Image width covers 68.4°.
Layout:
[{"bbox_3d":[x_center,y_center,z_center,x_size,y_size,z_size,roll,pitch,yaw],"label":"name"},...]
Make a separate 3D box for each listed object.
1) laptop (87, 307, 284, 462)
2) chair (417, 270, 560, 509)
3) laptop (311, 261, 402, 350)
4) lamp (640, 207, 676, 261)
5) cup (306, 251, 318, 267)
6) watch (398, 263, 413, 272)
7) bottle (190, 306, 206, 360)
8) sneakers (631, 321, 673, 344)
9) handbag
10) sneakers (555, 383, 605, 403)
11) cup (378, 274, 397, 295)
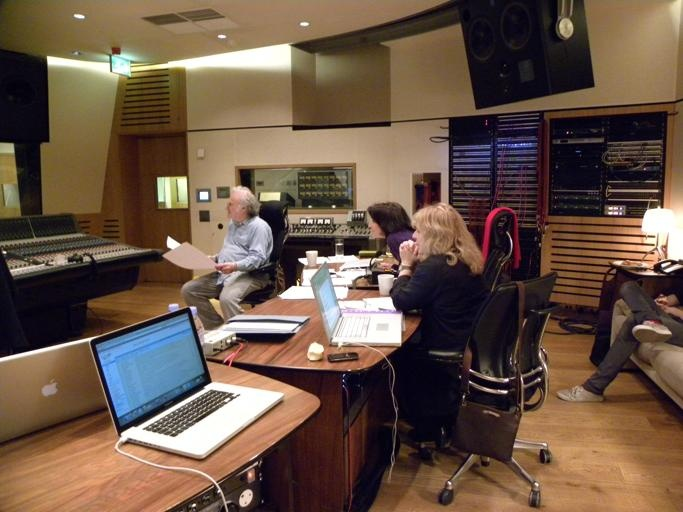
[{"bbox_3d":[-0.596,0.473,2.034,0.505,0.408,0.579,0,6,22],"label":"laptop"},{"bbox_3d":[0.990,0.624,3.462,1.021,1.699,1.123,4,9,36],"label":"chair"},{"bbox_3d":[0.112,0.343,2.834,0.404,0.325,0.543,-3,9,11],"label":"laptop"},{"bbox_3d":[3.114,-0.212,4.959,0.250,0.546,0.624,6,15,31],"label":"lamp"},{"bbox_3d":[-0.250,0.022,4.388,0.114,0.132,0.117,-1,13,0],"label":"cup"},{"bbox_3d":[0.412,0.080,3.277,0.059,0.043,0.064,3,-7,25],"label":"watch"},{"bbox_3d":[-0.711,0.373,2.513,0.060,0.222,0.237,-2,-1,-3],"label":"bottle"},{"bbox_3d":[2.198,0.554,3.619,0.278,0.138,0.135,1,30,7],"label":"sneakers"},{"bbox_3d":[0.808,0.695,2.725,0.407,1.049,0.132,10,24,18],"label":"handbag"},{"bbox_3d":[1.815,1.075,3.838,0.337,0.136,0.141,2,6,14],"label":"sneakers"},{"bbox_3d":[0.312,0.214,3.495,0.093,0.114,0.149,0,-1,8],"label":"cup"}]
